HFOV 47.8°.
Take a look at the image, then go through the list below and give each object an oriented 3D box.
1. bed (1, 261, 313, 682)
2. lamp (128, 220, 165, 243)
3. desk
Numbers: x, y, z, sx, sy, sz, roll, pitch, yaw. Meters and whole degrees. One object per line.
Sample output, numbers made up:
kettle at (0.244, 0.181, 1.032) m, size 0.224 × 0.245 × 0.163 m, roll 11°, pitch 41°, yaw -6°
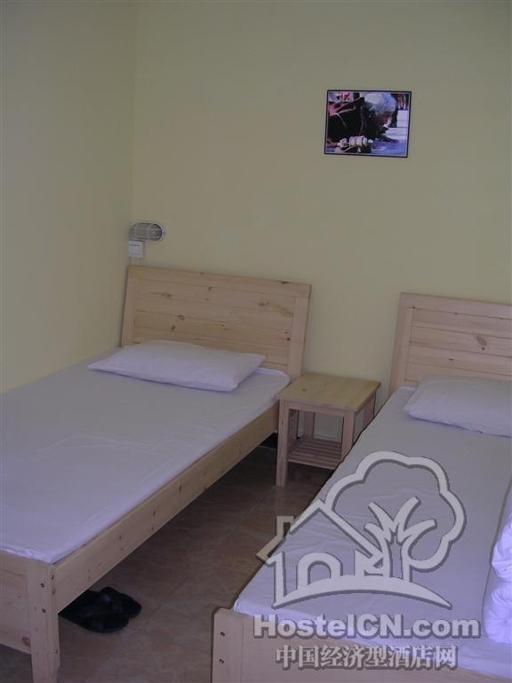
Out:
bed at (-0.408, 0.365, 2.322) m, size 0.773 × 0.827 × 1.377 m, roll 12°, pitch 31°, yaw 24°
lamp at (-0.516, -0.514, 2.727) m, size 0.125 × 0.046 × 0.082 m, roll 3°, pitch 41°, yaw 1°
desk at (0.263, 0.296, 2.629) m, size 0.490 × 0.540 × 0.488 m, roll 7°, pitch 16°, yaw 25°
